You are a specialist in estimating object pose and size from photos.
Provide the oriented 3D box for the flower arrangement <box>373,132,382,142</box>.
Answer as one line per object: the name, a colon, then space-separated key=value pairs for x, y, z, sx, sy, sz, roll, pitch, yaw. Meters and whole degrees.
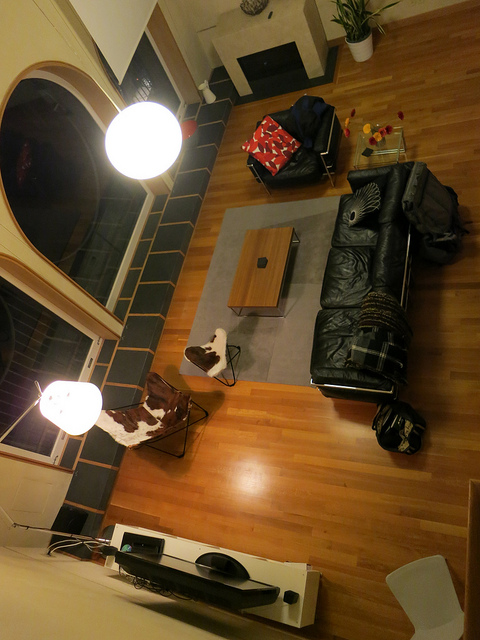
flower arrangement: x=1.273 y=-1.706 z=4.348 sx=0.060 sy=0.022 sz=0.079 roll=-9 pitch=97 yaw=12

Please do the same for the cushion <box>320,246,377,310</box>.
cushion: x=0.886 y=-0.353 z=3.816 sx=0.522 sy=0.127 sz=0.495 roll=-4 pitch=64 yaw=41

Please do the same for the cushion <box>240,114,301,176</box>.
cushion: x=0.328 y=-1.869 z=5.078 sx=0.601 sy=0.188 sz=0.627 roll=42 pitch=88 yaw=12

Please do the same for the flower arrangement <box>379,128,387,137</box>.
flower arrangement: x=1.321 y=-1.757 z=4.359 sx=0.061 sy=0.042 sz=0.078 roll=-3 pitch=81 yaw=-11

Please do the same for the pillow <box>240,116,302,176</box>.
pillow: x=0.341 y=-1.866 z=5.170 sx=0.601 sy=0.189 sz=0.626 roll=44 pitch=90 yaw=13

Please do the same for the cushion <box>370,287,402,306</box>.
cushion: x=1.018 y=-0.172 z=3.279 sx=0.135 sy=0.099 sz=0.133 roll=9 pitch=88 yaw=40

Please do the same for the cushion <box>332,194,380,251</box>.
cushion: x=0.973 y=-0.780 z=3.993 sx=0.492 sy=0.123 sz=0.511 roll=7 pitch=85 yaw=9

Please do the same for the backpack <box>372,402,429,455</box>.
backpack: x=1.095 y=0.736 z=3.212 sx=0.398 sy=0.164 sz=0.325 roll=12 pitch=89 yaw=4

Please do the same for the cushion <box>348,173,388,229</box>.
cushion: x=1.085 y=-1.002 z=3.927 sx=0.380 sy=0.119 sz=0.349 roll=-17 pitch=65 yaw=56

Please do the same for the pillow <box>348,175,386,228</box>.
pillow: x=1.085 y=-1.006 z=3.921 sx=0.365 sy=0.114 sz=0.334 roll=-20 pitch=61 yaw=56

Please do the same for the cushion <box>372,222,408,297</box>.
cushion: x=1.089 y=-0.434 z=3.382 sx=0.272 sy=0.227 sz=0.763 roll=5 pitch=60 yaw=19
